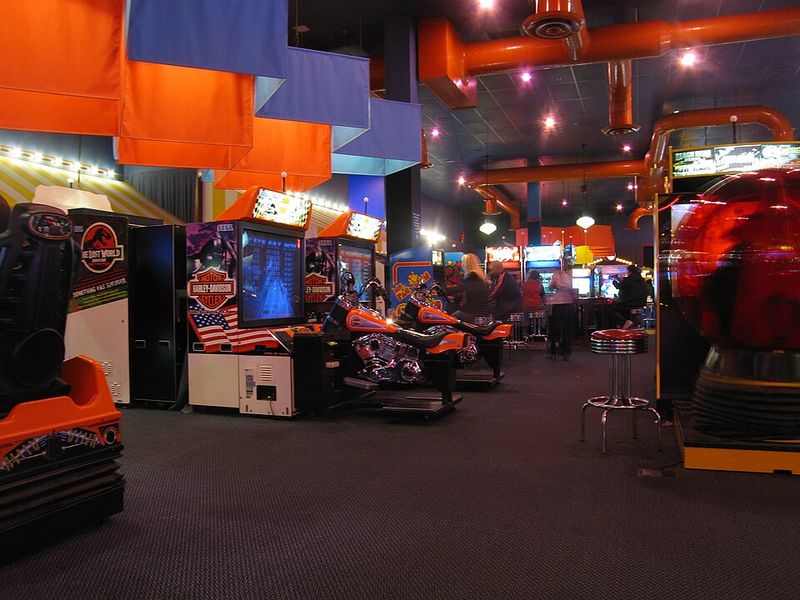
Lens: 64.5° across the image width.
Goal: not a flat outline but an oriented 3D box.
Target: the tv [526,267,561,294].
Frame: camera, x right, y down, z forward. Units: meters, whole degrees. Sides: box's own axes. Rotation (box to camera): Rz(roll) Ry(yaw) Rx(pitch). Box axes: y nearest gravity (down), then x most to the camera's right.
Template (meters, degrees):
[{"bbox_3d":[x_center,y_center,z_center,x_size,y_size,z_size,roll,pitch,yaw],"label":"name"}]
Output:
[{"bbox_3d":[2.911,-0.409,13.010,0.653,0.638,0.346,-2,4,6],"label":"tv"}]

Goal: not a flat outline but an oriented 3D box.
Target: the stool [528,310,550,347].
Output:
[{"bbox_3d":[2.887,0.521,13.471,0.430,0.686,0.674,0,5,10],"label":"stool"}]

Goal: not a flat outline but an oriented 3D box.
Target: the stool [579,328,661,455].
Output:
[{"bbox_3d":[1.833,0.729,5.318,0.702,0.945,0.724,-3,-4,42],"label":"stool"}]

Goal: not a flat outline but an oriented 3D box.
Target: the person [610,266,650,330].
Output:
[{"bbox_3d":[4.293,-0.066,11.895,0.571,1.200,0.956,0,5,18],"label":"person"}]

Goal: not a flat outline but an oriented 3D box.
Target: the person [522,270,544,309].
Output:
[{"bbox_3d":[2.607,-0.204,12.368,0.490,0.768,0.537,0,13,27],"label":"person"}]

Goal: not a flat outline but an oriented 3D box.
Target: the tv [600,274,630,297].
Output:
[{"bbox_3d":[5.137,-0.337,15.290,0.636,0.594,0.343,1,-7,-5],"label":"tv"}]

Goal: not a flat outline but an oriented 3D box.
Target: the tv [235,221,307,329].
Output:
[{"bbox_3d":[-1.332,-0.283,6.794,1.060,1.037,0.103,5,6,37],"label":"tv"}]

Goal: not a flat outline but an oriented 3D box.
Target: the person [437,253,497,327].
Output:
[{"bbox_3d":[1.097,-0.149,10.015,0.577,1.176,2.103,0,5,8],"label":"person"}]
